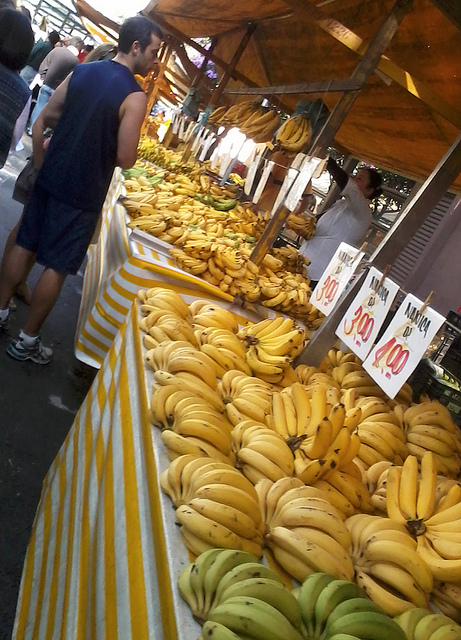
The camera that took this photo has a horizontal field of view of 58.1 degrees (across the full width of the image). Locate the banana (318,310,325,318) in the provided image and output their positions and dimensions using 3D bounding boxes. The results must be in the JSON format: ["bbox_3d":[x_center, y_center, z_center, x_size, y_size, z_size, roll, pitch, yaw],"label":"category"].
[{"bbox_3d":[0.651,-0.047,3.034,0.018,0.024,0.068,-21,44,-22],"label":"banana"}]

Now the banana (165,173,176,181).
[{"bbox_3d":[-0.804,-1.957,5.657,0.043,0.116,0.083,49,-5,-2],"label":"banana"}]

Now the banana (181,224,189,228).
[{"bbox_3d":[-0.400,-0.825,3.641,0.054,0.013,0.052,2,-5,11],"label":"banana"}]

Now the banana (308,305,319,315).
[{"bbox_3d":[0.653,-0.084,3.303,0.062,0.048,0.177,-14,8,8],"label":"banana"}]

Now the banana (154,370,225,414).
[{"bbox_3d":[-0.149,0.245,1.421,0.220,0.045,0.060,28,31,-23],"label":"banana"}]

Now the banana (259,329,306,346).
[{"bbox_3d":[0.249,0.069,2.252,0.140,0.083,0.404,-8,5,-22],"label":"banana"}]

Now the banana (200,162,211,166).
[{"bbox_3d":[-0.379,-2.424,6.463,0.160,0.042,0.147,-3,10,-21],"label":"banana"}]

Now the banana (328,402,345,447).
[{"bbox_3d":[0.335,0.321,1.359,0.038,0.168,0.053,3,-9,-24],"label":"banana"}]

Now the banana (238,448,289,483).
[{"bbox_3d":[0.096,0.419,1.202,0.155,0.049,0.036,27,16,25],"label":"banana"}]

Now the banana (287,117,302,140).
[{"bbox_3d":[0.600,-1.795,3.887,0.057,0.336,0.087,20,-18,19],"label":"banana"}]

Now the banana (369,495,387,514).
[{"bbox_3d":[0.473,0.589,1.356,0.071,0.019,0.053,32,16,-9],"label":"banana"}]

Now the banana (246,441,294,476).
[{"bbox_3d":[0.132,0.400,1.235,0.107,0.036,0.111,38,11,-5],"label":"banana"}]

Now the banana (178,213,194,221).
[{"bbox_3d":[-0.391,-0.960,3.856,0.102,0.068,0.289,7,11,6],"label":"banana"}]

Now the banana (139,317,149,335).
[{"bbox_3d":[-0.394,0.024,1.917,0.023,0.050,0.063,56,9,-48],"label":"banana"}]

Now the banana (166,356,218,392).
[{"bbox_3d":[-0.155,0.205,1.634,0.161,0.052,0.137,28,18,-21],"label":"banana"}]

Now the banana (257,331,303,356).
[{"bbox_3d":[0.245,0.118,2.189,0.044,0.204,0.073,22,51,-42],"label":"banana"}]

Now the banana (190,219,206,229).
[{"bbox_3d":[-0.284,-0.890,3.872,0.102,0.100,0.041,21,16,21],"label":"banana"}]

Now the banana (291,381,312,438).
[{"bbox_3d":[0.247,0.324,1.532,0.042,0.062,0.187,32,35,-37],"label":"banana"}]

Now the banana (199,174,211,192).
[{"bbox_3d":[-0.336,-1.778,5.363,0.096,0.131,0.502,15,40,-19],"label":"banana"}]

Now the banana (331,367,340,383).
[{"bbox_3d":[0.575,0.304,2.335,0.048,0.027,0.056,0,69,-49],"label":"banana"}]

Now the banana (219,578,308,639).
[{"bbox_3d":[0.049,0.496,0.718,0.129,0.043,0.106,36,11,-18],"label":"banana"}]

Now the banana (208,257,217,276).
[{"bbox_3d":[-0.145,-0.428,3.241,0.060,0.108,0.025,-6,-18,16],"label":"banana"}]

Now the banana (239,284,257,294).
[{"bbox_3d":[0.128,-0.239,3.137,0.095,0.076,0.074,30,12,-19],"label":"banana"}]

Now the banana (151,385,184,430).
[{"bbox_3d":[-0.207,0.266,1.294,0.077,0.104,0.027,-3,-10,-43],"label":"banana"}]

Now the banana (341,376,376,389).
[{"bbox_3d":[0.654,0.320,2.130,0.134,0.058,0.239,0,0,27],"label":"banana"}]

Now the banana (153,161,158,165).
[{"bbox_3d":[-1.319,-2.792,7.362,0.028,0.051,0.160,28,14,-29],"label":"banana"}]

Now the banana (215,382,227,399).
[{"bbox_3d":[-0.039,0.287,1.684,0.040,0.054,0.019,13,-22,-31],"label":"banana"}]

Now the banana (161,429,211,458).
[{"bbox_3d":[-0.125,0.344,1.161,0.115,0.038,0.031,24,6,18],"label":"banana"}]

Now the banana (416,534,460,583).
[{"bbox_3d":[0.515,0.598,1.038,0.126,0.030,0.045,41,45,4],"label":"banana"}]

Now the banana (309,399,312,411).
[{"bbox_3d":[0.294,0.315,1.547,0.006,0.009,0.032,-14,71,-9],"label":"banana"}]

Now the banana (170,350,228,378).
[{"bbox_3d":[-0.107,0.162,1.725,0.129,0.044,0.167,25,4,10],"label":"banana"}]

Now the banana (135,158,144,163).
[{"bbox_3d":[-1.578,-2.842,7.365,0.081,0.109,0.719,30,13,-20],"label":"banana"}]

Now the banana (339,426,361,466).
[{"bbox_3d":[0.381,0.408,1.354,0.042,0.057,0.166,33,45,-20],"label":"banana"}]

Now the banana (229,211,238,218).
[{"bbox_3d":[0.019,-1.161,4.588,0.122,0.029,0.074,39,21,29],"label":"banana"}]

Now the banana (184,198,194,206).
[{"bbox_3d":[-0.470,-1.369,4.764,0.081,0.069,0.082,22,34,7],"label":"banana"}]

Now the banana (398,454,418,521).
[{"bbox_3d":[0.536,0.529,1.324,0.068,0.045,0.210,47,33,-12],"label":"banana"}]

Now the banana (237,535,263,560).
[{"bbox_3d":[0.035,0.518,0.964,0.063,0.019,0.059,22,40,-52],"label":"banana"}]

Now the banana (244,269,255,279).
[{"bbox_3d":[0.144,-0.341,3.174,0.103,0.028,0.036,63,-19,3],"label":"banana"}]

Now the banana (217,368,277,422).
[{"bbox_3d":[0.062,0.294,1.628,0.148,0.067,0.210,-16,15,9],"label":"banana"}]

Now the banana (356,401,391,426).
[{"bbox_3d":[0.634,0.400,1.849,0.108,0.040,0.107,-9,8,-12],"label":"banana"}]

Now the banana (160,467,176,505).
[{"bbox_3d":[-0.150,0.399,1.002,0.035,0.020,0.060,22,40,-48],"label":"banana"}]

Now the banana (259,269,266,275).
[{"bbox_3d":[0.261,-0.402,3.474,0.044,0.011,0.045,26,15,20],"label":"banana"}]

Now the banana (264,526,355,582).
[{"bbox_3d":[0.169,0.527,0.928,0.210,0.071,0.048,-2,-12,35],"label":"banana"}]

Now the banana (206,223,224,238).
[{"bbox_3d":[-0.106,-0.815,3.836,0.094,0.133,0.259,-1,17,28],"label":"banana"}]

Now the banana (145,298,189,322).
[{"bbox_3d":[-0.328,-0.083,2.177,0.173,0.043,0.129,23,10,15],"label":"banana"}]

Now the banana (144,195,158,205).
[{"bbox_3d":[-0.742,-1.153,4.003,0.054,0.091,0.151,9,19,-18],"label":"banana"}]

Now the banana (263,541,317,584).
[{"bbox_3d":[0.135,0.544,0.987,0.051,0.037,0.148,-25,37,-33],"label":"banana"}]

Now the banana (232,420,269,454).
[{"bbox_3d":[0.044,0.377,1.361,0.076,0.089,0.030,6,-19,-2],"label":"banana"}]

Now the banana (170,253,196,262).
[{"bbox_3d":[-0.357,-0.500,3.272,0.212,0.081,0.055,9,-1,16],"label":"banana"}]

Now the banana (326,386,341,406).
[{"bbox_3d":[0.464,0.345,1.883,0.045,0.030,0.092,7,33,-1],"label":"banana"}]

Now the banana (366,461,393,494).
[{"bbox_3d":[0.515,0.546,1.452,0.045,0.059,0.168,9,42,23],"label":"banana"}]

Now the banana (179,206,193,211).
[{"bbox_3d":[-0.465,-1.166,4.339,0.105,0.028,0.105,3,19,-1],"label":"banana"}]

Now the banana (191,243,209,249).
[{"bbox_3d":[-0.232,-0.570,3.218,0.125,0.033,0.050,-5,9,2],"label":"banana"}]

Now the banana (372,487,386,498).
[{"bbox_3d":[0.507,0.586,1.416,0.025,0.026,0.009,12,-47,61],"label":"banana"}]

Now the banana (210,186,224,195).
[{"bbox_3d":[-0.166,-1.615,5.185,0.182,0.053,0.053,36,55,5],"label":"banana"}]

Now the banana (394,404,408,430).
[{"bbox_3d":[0.766,0.443,1.896,0.027,0.046,0.129,-7,23,11],"label":"banana"}]

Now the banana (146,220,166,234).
[{"bbox_3d":[-0.612,-0.769,3.455,0.056,0.071,0.213,41,27,-1],"label":"banana"}]

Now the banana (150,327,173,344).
[{"bbox_3d":[-0.306,0.059,1.788,0.053,0.036,0.109,-19,33,-32],"label":"banana"}]

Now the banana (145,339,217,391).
[{"bbox_3d":[-0.194,0.151,1.633,0.183,0.086,0.246,23,5,4],"label":"banana"}]

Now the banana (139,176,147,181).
[{"bbox_3d":[-1.092,-1.775,5.250,0.091,0.046,0.296,30,13,-19],"label":"banana"}]
